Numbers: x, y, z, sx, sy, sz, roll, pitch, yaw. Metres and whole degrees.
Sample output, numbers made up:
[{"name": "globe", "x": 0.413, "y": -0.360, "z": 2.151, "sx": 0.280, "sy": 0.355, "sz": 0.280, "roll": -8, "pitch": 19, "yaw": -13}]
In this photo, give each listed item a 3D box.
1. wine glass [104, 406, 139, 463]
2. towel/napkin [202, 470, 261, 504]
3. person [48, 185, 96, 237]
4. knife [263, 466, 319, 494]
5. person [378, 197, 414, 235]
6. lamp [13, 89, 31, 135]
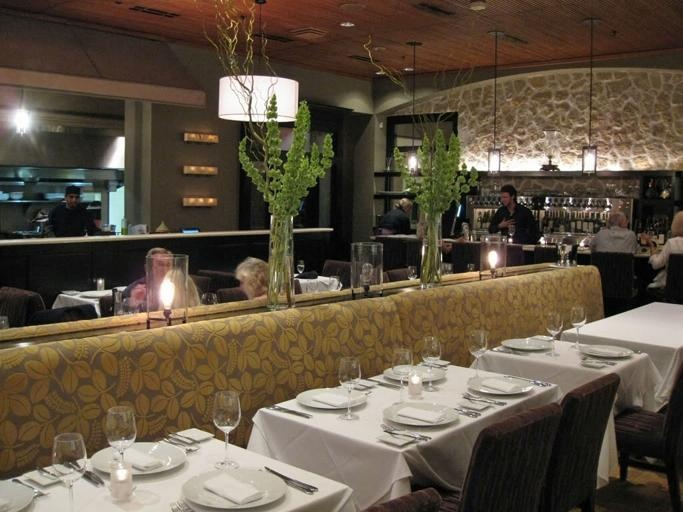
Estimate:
[{"name": "wine glass", "x": -0.776, "y": 0.626, "z": 1.856, "sx": 0.089, "sy": 0.247, "sz": 0.250, "roll": -4, "pitch": 5, "yaw": -26}, {"name": "towel/napkin", "x": -0.365, "y": 0.757, "z": 1.774, "sx": 0.127, "sy": 0.036, "sz": 0.081, "roll": 15, "pitch": 15, "yaw": 38}, {"name": "person", "x": -4.173, "y": -0.676, "z": 8.229, "sx": 0.557, "sy": 0.839, "sz": 0.688, "roll": 12, "pitch": 14, "yaw": 40}, {"name": "knife", "x": -0.169, "y": 0.810, "z": 1.900, "sx": 0.058, "sy": 0.014, "sz": 0.325, "roll": -6, "pitch": 7, "yaw": -34}, {"name": "person", "x": 1.126, "y": -0.816, "z": 10.511, "sx": 0.656, "sy": 0.996, "sz": 0.672, "roll": 9, "pitch": 9, "yaw": 43}, {"name": "lamp", "x": -5.218, "y": -2.367, "z": 8.611, "sx": 0.279, "sy": 0.717, "sz": 0.096, "roll": -5, "pitch": 6, "yaw": -33}]
